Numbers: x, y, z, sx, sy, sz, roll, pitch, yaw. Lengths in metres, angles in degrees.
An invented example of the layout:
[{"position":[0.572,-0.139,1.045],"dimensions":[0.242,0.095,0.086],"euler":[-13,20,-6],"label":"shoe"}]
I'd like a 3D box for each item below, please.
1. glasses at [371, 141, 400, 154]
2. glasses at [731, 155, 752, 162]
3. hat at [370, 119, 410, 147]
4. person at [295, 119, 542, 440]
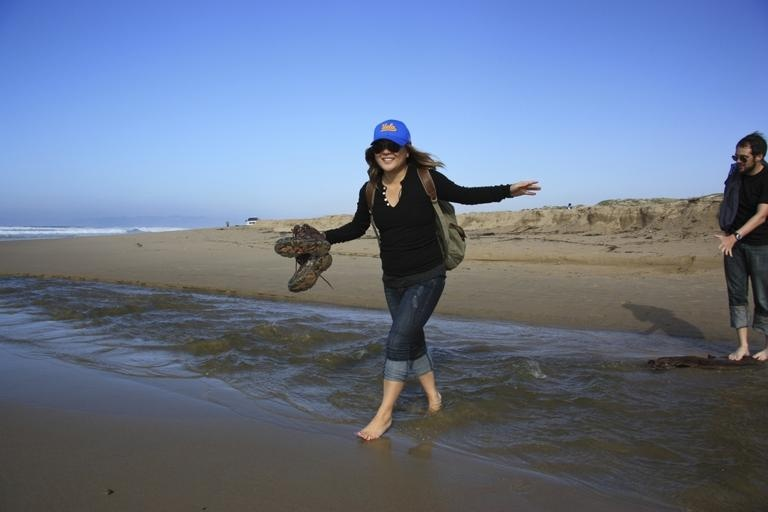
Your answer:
[{"position":[0.014,-0.891,4.074],"dimensions":[0.166,0.031,0.132],"euler":[0,-4,11],"label":"glasses"},{"position":[3.965,-1.108,5.627],"dimensions":[0.120,0.074,0.197],"euler":[4,10,-1],"label":"glasses"},{"position":[0.073,-1.006,4.087],"dimensions":[0.285,0.200,0.126],"euler":[5,14,2],"label":"hat"},{"position":[0.225,0.202,4.292],"dimensions":[1.125,2.652,1.262],"euler":[5,15,-4],"label":"person"}]
